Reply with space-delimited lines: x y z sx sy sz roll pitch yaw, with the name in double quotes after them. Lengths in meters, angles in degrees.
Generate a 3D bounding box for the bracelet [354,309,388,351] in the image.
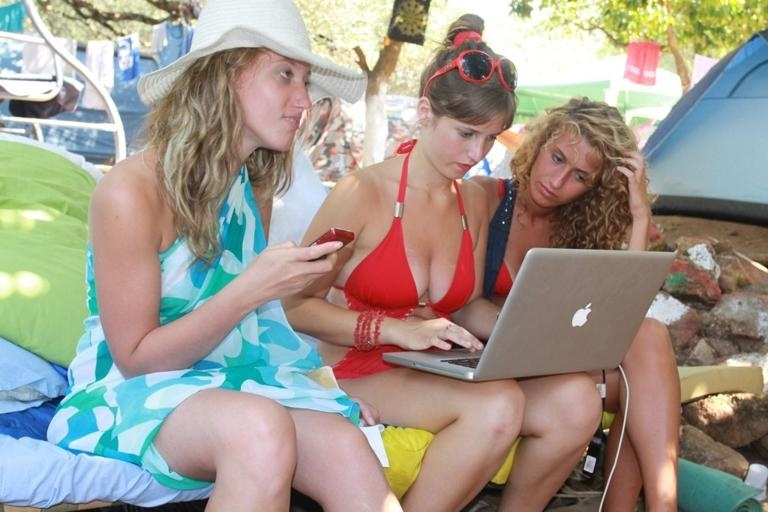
-0.066 0.296 2.419 0.110 0.141 0.057 2 -12 17 "bracelet"

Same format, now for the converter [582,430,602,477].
1.001 0.926 2.884 0.063 0.261 0.071 -16 29 -41 "converter"
